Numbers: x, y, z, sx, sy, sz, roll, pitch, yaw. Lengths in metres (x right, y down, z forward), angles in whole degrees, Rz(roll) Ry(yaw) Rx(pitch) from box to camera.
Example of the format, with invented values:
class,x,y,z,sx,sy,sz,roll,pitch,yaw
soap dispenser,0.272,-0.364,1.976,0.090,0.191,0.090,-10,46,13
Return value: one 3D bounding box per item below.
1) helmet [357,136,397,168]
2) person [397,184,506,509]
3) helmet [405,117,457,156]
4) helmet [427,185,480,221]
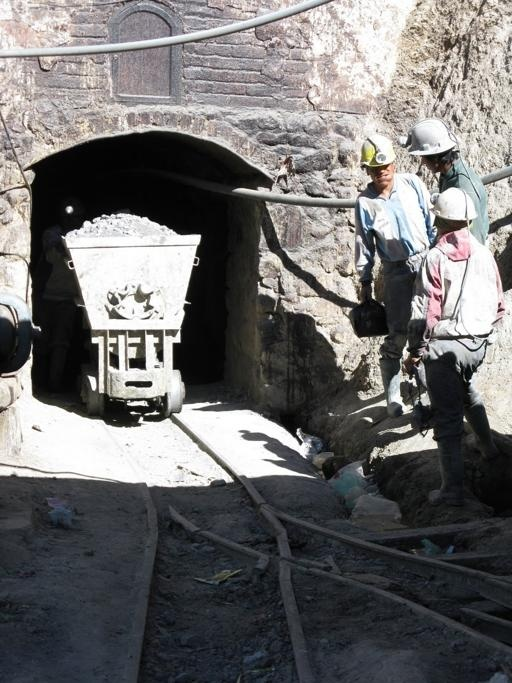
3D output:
class,x,y,z,sx,sy,sz,roll,pitch,yaw
helmet,0.946,-1.453,7.399,0.229,0.159,0.291,-4,18,-4
person,1.299,0.075,6.270,0.763,2.088,0.319,2,8,-34
helmet,1.240,-1.433,6.825,0.324,0.182,0.289,-13,18,3
helmet,1.266,-0.864,6.084,0.257,0.214,0.185,7,7,4
